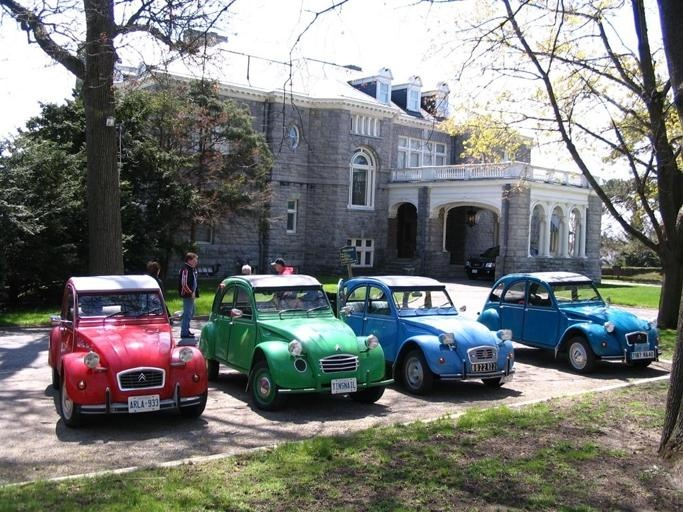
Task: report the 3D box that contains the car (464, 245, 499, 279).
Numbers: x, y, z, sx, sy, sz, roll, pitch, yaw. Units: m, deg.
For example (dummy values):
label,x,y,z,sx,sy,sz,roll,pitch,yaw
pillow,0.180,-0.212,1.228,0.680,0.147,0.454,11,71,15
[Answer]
label,x,y,z,sx,sy,sz,roll,pitch,yaw
car,8.454,0.422,35.275,1.249,1.305,2.186,-3,-5,39

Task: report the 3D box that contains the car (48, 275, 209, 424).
label,x,y,z,sx,sy,sz,roll,pitch,yaw
car,-3.553,1.504,10.150,2.020,2.092,2.719,-2,5,-33
